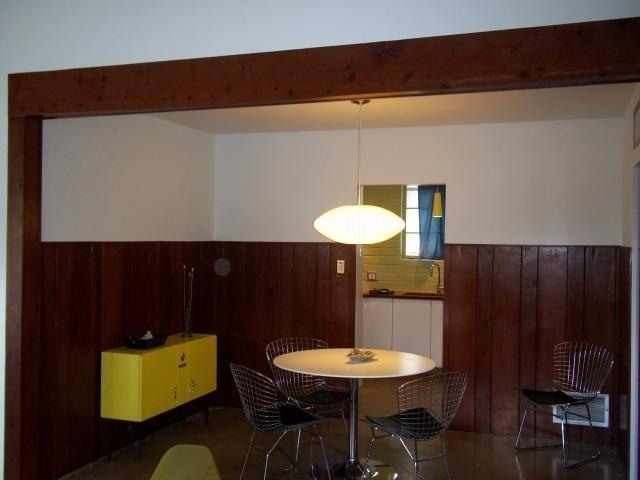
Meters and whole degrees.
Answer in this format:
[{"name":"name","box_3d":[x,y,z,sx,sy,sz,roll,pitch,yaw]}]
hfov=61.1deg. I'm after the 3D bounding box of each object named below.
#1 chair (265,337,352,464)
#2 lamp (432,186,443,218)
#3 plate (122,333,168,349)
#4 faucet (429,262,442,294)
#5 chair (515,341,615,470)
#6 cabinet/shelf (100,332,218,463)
[{"name":"chair","box_3d":[-0.068,1.600,5.747,0.900,1.423,0.886,3,-7,-41]},{"name":"lamp","box_3d":[1.924,-0.602,8.873,0.159,0.318,0.135,-1,-1,12]},{"name":"plate","box_3d":[-1.599,0.950,5.046,0.159,0.090,0.222,-4,-6,41]},{"name":"faucet","box_3d":[1.872,0.601,8.705,0.199,0.368,0.402,-1,-1,12]},{"name":"chair","box_3d":[2.328,1.534,5.193,0.917,1.060,0.812,-2,-1,27]},{"name":"cabinet/shelf","box_3d":[-1.528,1.310,5.264,0.456,0.652,1.126,-2,-1,31]}]
